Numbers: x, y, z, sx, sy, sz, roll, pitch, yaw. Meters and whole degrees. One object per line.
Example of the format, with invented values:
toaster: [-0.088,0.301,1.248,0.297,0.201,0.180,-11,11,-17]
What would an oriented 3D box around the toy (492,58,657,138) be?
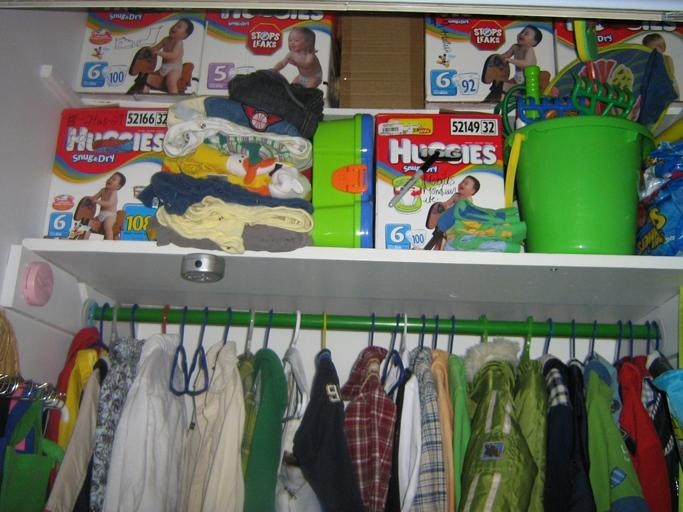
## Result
toy: [0.624,-0.412,1.747,0.319,0.139,0.241,-6,17,11]

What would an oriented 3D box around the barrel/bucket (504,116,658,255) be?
barrel/bucket: [0.559,-0.128,1.577,0.286,0.250,0.312,0,-16,0]
